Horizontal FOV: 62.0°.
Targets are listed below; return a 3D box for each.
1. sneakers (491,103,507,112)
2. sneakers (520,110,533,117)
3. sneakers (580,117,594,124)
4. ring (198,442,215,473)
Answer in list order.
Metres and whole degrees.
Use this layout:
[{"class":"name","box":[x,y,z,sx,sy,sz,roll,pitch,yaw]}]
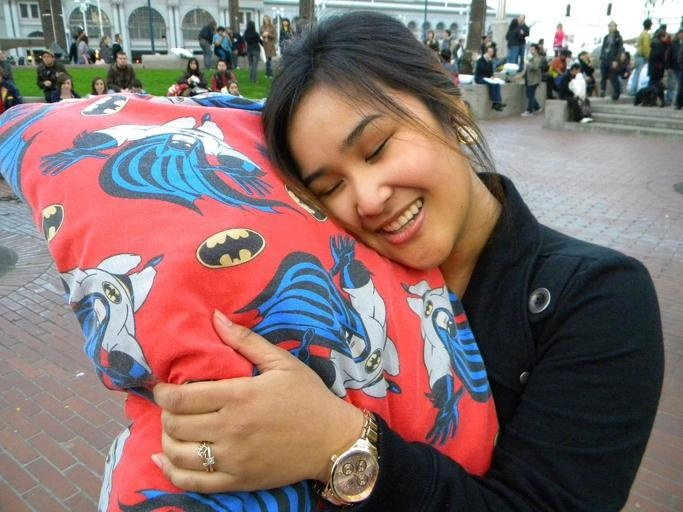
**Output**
[{"class":"sneakers","box":[4.605,-4.364,16.665,0.568,0.237,0.173,-15,43,-45]},{"class":"sneakers","box":[5.696,-4.402,17.624,0.484,0.205,0.203,5,35,10]},{"class":"sneakers","box":[6.390,-3.524,14.773,0.269,0.126,0.272,-10,8,-20]},{"class":"ring","box":[-0.283,0.424,1.186,0.016,0.051,0.036,-12,12,-21]}]
